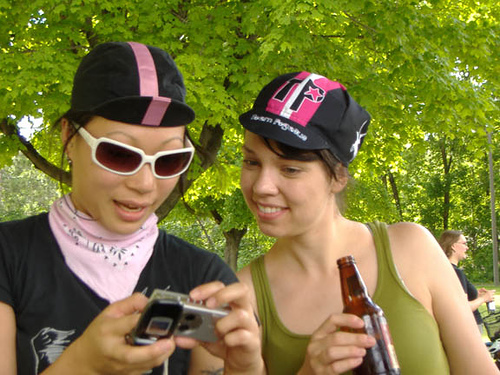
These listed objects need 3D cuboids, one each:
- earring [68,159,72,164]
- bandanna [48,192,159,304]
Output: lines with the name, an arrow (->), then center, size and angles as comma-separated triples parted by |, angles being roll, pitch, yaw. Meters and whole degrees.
earring -> -0.916, -0.132, 2.343 | 0.024, 0.006, 0.022 | 20, 32, 31
bandanna -> -0.717, 0.307, 2.220 | 0.502, 0.367, 0.329 | 10, 10, -20
